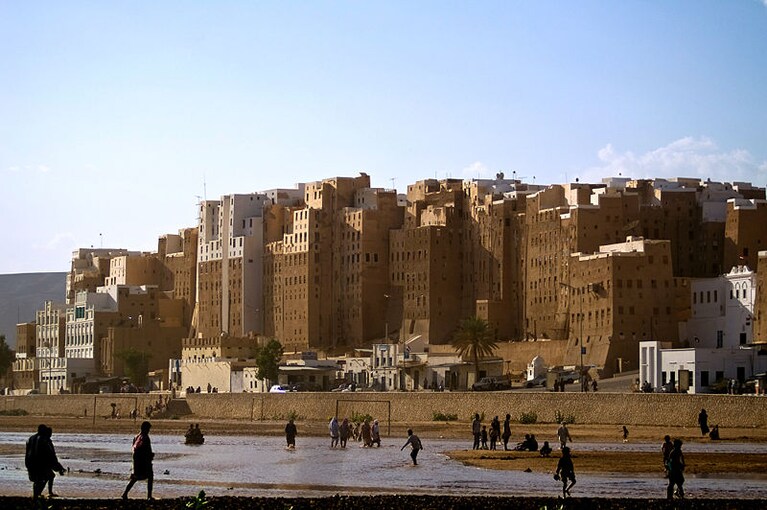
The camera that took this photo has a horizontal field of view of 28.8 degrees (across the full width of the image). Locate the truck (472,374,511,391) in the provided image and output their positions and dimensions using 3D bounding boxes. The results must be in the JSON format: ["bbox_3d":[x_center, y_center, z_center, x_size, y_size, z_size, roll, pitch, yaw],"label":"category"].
[{"bbox_3d":[11.502,13.395,156.249,3.164,1.429,1.743,1,-3,-3],"label":"truck"}]
